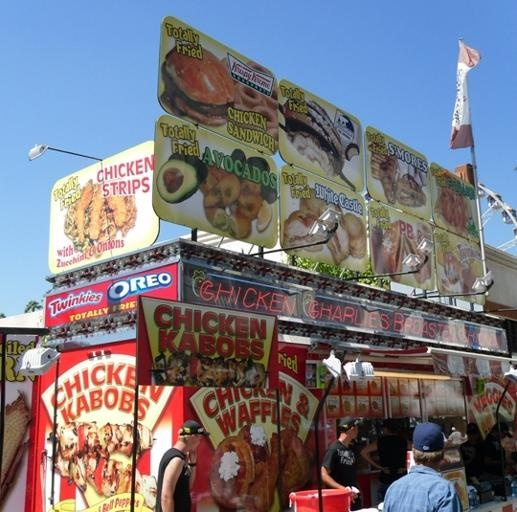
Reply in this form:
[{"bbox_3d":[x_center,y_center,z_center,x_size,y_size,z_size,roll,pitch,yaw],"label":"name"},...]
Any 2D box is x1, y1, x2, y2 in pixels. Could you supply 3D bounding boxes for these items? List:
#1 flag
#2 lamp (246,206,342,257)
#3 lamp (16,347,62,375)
[{"bbox_3d":[5.966,-4.741,15.884,0.592,3.272,1.037,8,-19,-30],"label":"flag"},{"bbox_3d":[0.713,-0.312,9.654,1.459,0.682,0.810,-16,-33,27],"label":"lamp"},{"bbox_3d":[-2.630,1.261,6.547,0.486,0.316,0.254,-12,-20,28],"label":"lamp"}]
